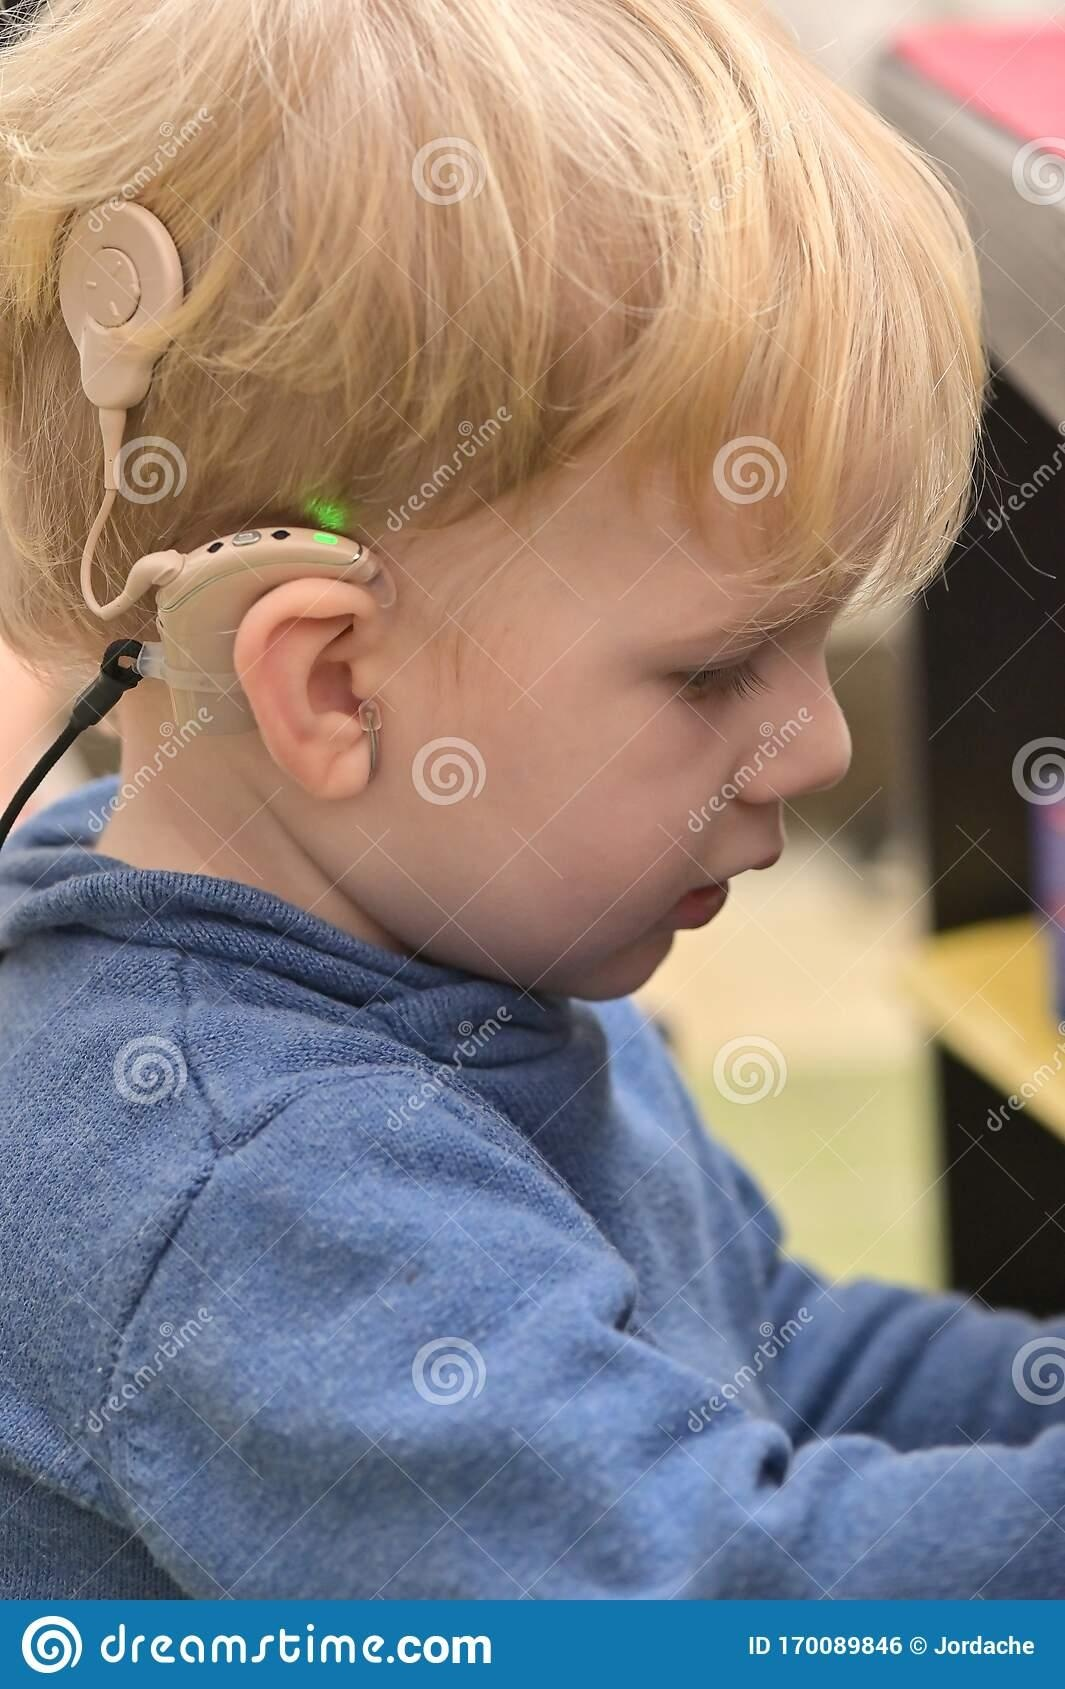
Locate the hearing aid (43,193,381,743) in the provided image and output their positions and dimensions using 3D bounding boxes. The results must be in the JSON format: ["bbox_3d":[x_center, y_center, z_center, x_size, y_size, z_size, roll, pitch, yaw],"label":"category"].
[{"bbox_3d":[-0.142,-0.141,0.650,0.199,0.176,0.087,40,60,20],"label":"hearing aid"}]
